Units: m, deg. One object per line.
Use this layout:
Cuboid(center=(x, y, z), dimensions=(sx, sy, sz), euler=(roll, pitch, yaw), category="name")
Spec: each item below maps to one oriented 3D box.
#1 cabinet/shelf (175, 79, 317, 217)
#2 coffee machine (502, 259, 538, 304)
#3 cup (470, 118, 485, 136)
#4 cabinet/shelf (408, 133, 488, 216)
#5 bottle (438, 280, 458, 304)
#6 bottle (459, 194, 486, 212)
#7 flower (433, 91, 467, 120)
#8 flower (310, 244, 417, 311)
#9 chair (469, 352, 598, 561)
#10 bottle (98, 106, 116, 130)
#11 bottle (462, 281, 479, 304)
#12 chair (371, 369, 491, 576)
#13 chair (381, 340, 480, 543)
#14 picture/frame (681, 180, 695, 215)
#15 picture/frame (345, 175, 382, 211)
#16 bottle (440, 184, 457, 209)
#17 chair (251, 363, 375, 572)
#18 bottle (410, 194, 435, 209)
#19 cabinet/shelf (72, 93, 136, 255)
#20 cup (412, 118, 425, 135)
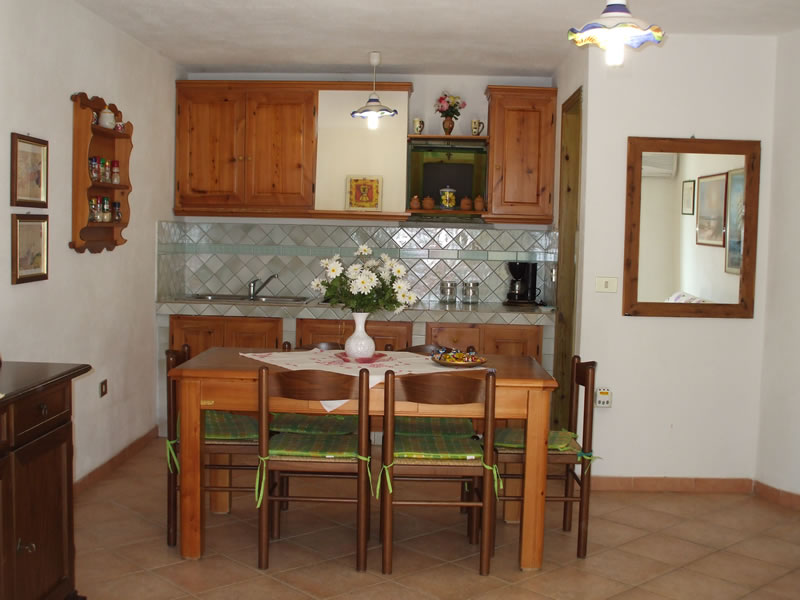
Cuboid(center=(-1.269, -1.317, 5.856), dimensions=(1.243, 1.031, 0.466), euler=(1, 0, 3), category="cabinet/shelf")
Cuboid(center=(1.045, -0.146, 5.958), dimensions=(0.349, 0.433, 0.329), euler=(2, -1, 5), category="coffee machine")
Cuboid(center=(0.670, -1.484, 5.971), dimensions=(0.125, 0.160, 0.230), euler=(3, 9, 10), category="cup")
Cuboid(center=(0.430, -1.104, 6.027), dimensions=(0.791, 0.704, 0.363), euler=(1, 4, 3), category="cabinet/shelf")
Cuboid(center=(0.426, -0.060, 6.124), dimensions=(0.190, 0.191, 0.187), euler=(4, 6, 24), category="bottle")
Cuboid(center=(0.619, -0.820, 5.958), dimensions=(0.211, 0.133, 0.121), euler=(-2, 9, 5), category="bottle")
Cuboid(center=(0.434, -1.673, 5.965), dimensions=(0.264, 0.244, 0.207), euler=(2, 9, 3), category="flower")
Cuboid(center=(-0.231, -0.089, 4.287), dimensions=(0.691, 0.552, 0.595), euler=(1, 3, -4), category="flower")
Cuboid(center=(0.788, 0.909, 4.078), dimensions=(0.715, 0.975, 0.701), euler=(0, 0, 21), category="chair")
Cuboid(center=(-1.969, -1.225, 4.677), dimensions=(0.112, 0.140, 0.138), euler=(-1, 1, -31), category="bottle")
Cuboid(center=(0.614, -0.058, 6.051), dimensions=(0.183, 0.188, 0.176), euler=(-3, 8, -30), category="bottle")
Cuboid(center=(0.194, 0.930, 3.890), dimensions=(0.784, 1.009, 0.775), euler=(4, -6, -23), category="chair")
Cuboid(center=(0.191, 0.849, 3.910), dimensions=(0.597, 1.080, 0.733), euler=(1, 9, 0), category="chair")
Cuboid(center=(1.936, -0.688, 4.681), dimensions=(0.096, 0.236, 0.038), euler=(2, 9, 1), category="picture/frame")
Cuboid(center=(-0.303, -0.882, 5.843), dimensions=(0.332, 0.284, 0.053), euler=(0, 1, 1), category="picture/frame")
Cuboid(center=(0.404, -0.888, 6.009), dimensions=(0.159, 0.216, 0.195), euler=(1, -6, -10), category="bottle")
Cuboid(center=(-0.344, 0.898, 3.831), dimensions=(0.933, 0.973, 0.841), euler=(5, -9, -32), category="chair")
Cuboid(center=(0.181, -0.841, 5.975), dimensions=(0.206, 0.100, 0.116), euler=(3, 6, 32), category="bottle")
Cuboid(center=(-2.001, -0.835, 4.682), dimensions=(0.199, 1.051, 0.766), euler=(1, 9, -5), category="cabinet/shelf")
Cuboid(center=(0.154, -1.483, 5.958), dimensions=(0.163, 0.156, 0.101), euler=(0, -2, -3), category="cup")
